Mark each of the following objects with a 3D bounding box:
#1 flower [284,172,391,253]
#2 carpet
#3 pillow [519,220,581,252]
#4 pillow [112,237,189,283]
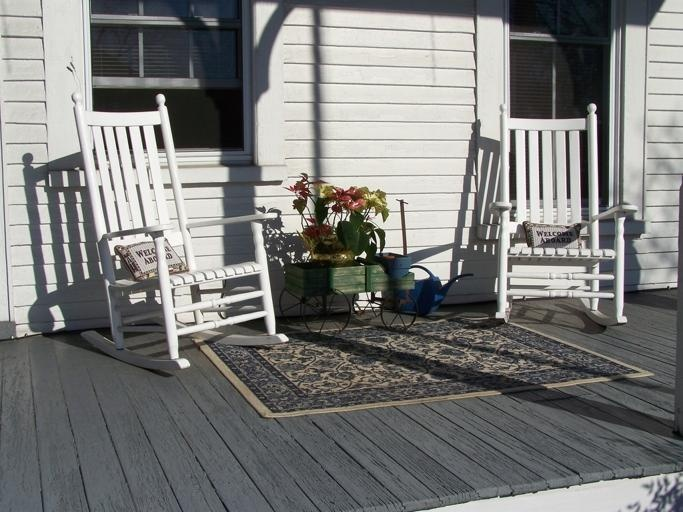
[{"bbox_3d":[-0.033,-0.262,3.756,0.645,0.579,0.673,-1,11,-5],"label":"flower"},{"bbox_3d":[0.358,0.561,3.061,2.072,0.019,1.139,-3,9,-16],"label":"carpet"},{"bbox_3d":[1.462,-0.153,3.878,0.397,0.174,0.166,1,11,7],"label":"pillow"},{"bbox_3d":[-1.044,-0.008,3.166,0.482,0.242,0.118,-13,7,25],"label":"pillow"}]
